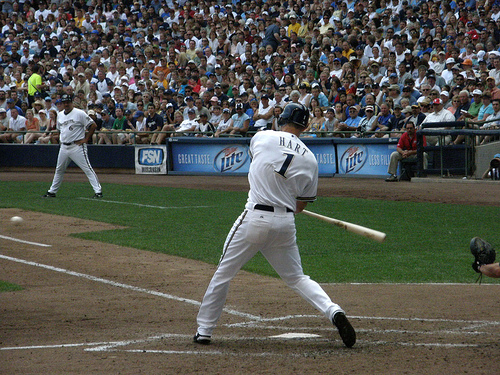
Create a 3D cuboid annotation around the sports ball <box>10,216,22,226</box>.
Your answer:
[{"bbox_3d":[-5.041,0.714,19.190,0.225,0.192,0.193,5,-37,19],"label":"sports ball"}]

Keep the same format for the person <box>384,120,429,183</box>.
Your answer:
[{"bbox_3d":[4.414,-1.044,24.277,1.068,1.575,1.058,4,13,28],"label":"person"}]

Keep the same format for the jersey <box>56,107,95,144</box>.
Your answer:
[{"bbox_3d":[-4.438,-1.587,22.475,0.925,0.922,0.418,1,4,-1],"label":"jersey"}]

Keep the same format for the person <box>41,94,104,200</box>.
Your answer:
[{"bbox_3d":[-4.559,-1.056,22.761,1.403,2.667,0.977,0,5,-14],"label":"person"}]
